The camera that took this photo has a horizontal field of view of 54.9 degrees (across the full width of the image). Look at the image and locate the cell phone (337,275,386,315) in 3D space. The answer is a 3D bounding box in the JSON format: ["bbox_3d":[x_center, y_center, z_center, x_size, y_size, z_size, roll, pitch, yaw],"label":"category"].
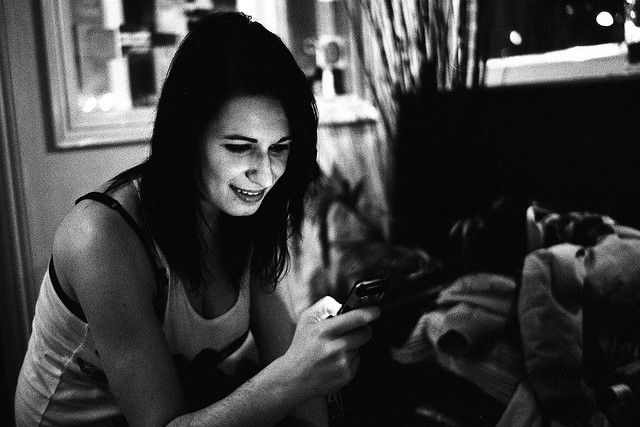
[{"bbox_3d":[0.093,0.187,1.406,0.100,0.099,0.072,-5,10,-12],"label":"cell phone"}]
